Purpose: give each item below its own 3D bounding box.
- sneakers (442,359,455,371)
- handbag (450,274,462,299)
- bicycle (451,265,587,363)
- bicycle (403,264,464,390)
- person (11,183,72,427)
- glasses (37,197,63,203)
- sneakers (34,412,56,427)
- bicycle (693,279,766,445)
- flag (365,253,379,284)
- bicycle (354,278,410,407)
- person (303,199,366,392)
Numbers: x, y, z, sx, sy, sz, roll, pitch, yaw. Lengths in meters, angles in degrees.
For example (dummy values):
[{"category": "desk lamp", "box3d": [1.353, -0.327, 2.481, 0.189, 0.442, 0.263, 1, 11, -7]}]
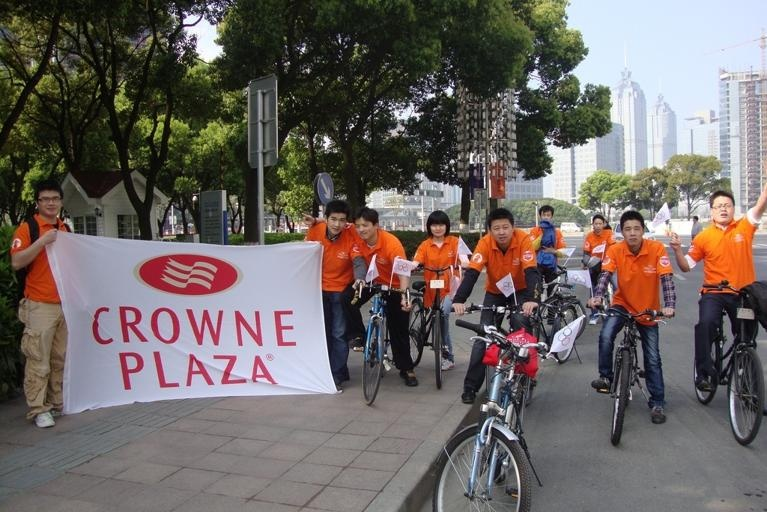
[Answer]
[{"category": "sneakers", "box3d": [1.035, 1.716, 10.290, 0.094, 0.119, 0.274, -15, -33, 30]}, {"category": "handbag", "box3d": [1.052, 0.434, 9.647, 0.097, 0.297, 0.206, 11, -4, -2]}, {"category": "bicycle", "box3d": [3.014, 0.981, 11.502, 2.482, 1.595, 1.504, 2, -10, -41]}, {"category": "bicycle", "box3d": [0.737, 0.901, 10.149, 0.959, 1.562, 2.484, 0, 7, -6]}, {"category": "person", "box3d": [-4.369, 0.563, 8.353, 0.632, 2.986, 1.067, -3, 12, -19]}, {"category": "glasses", "box3d": [-4.287, -0.728, 8.403, 0.281, 0.074, 0.169, -7, 14, -35]}, {"category": "sneakers", "box3d": [-4.235, 2.028, 8.168, 0.250, 0.143, 0.237, -3, 12, -18]}, {"category": "bicycle", "box3d": [4.439, 1.253, 8.144, 0.574, 1.824, 1.586, 2, 12, 5]}, {"category": "flag", "box3d": [-0.159, 0.209, 9.470, 0.178, 0.433, 0.482, 1, 12, 0]}, {"category": "bicycle", "box3d": [0.013, 1.176, 9.345, 0.868, 1.598, 1.570, 1, 12, -1]}, {"category": "person", "box3d": [-0.625, 0.509, 9.655, 0.626, 2.630, 1.112, -4, 12, -20]}]
